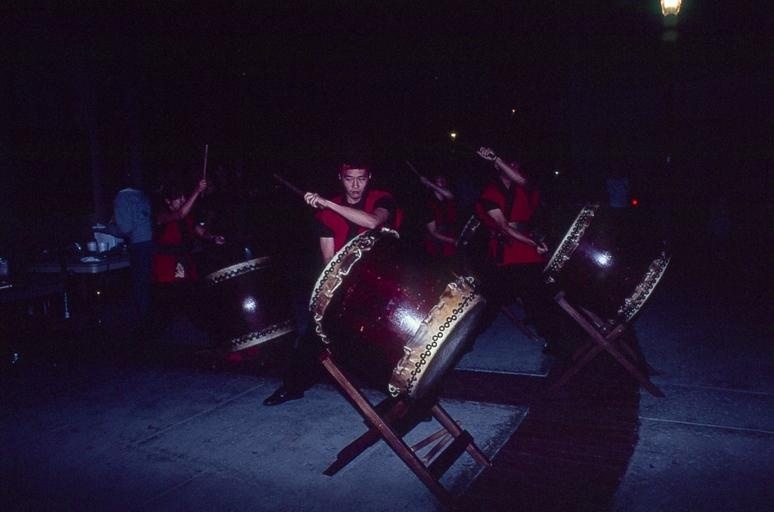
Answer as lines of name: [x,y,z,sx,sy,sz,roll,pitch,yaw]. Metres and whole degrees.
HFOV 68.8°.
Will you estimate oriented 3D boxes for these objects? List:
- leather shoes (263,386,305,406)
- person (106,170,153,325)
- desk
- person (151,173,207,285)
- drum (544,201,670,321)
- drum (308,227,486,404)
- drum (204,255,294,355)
leather shoes: [-1.004,1.356,5.463,0.423,0.191,0.159,-1,-1,-18]
person: [-2.935,0.032,6.709,0.581,1.581,0.333,11,15,25]
desk: [-3.740,0.409,7.007,1.000,0.769,0.971,2,1,6]
person: [-2.408,-0.296,6.495,0.551,1.215,0.341,-1,15,-23]
drum: [2.036,0.022,5.554,1.142,1.036,0.862,-7,38,15]
drum: [0.100,0.402,4.809,0.975,1.318,1.330,40,12,22]
drum: [-1.449,0.480,5.922,0.820,0.804,0.741,-15,0,-27]
